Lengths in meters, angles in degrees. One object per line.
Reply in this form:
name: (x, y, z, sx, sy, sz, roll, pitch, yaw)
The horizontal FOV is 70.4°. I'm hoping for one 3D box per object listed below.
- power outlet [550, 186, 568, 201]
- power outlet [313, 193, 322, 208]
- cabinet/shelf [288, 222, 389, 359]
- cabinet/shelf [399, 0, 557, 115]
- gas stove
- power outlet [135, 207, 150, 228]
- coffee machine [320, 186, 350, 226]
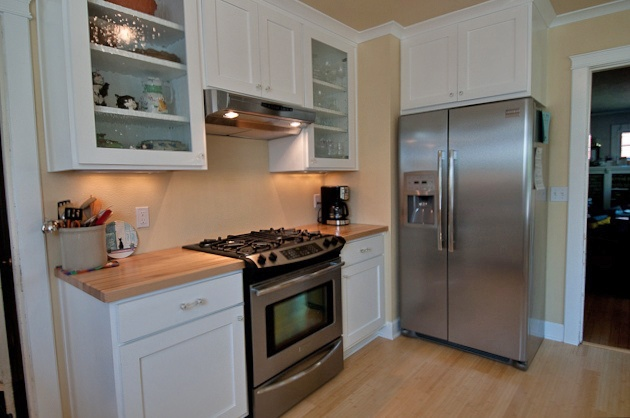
power outlet: (2.285, -0.154, 4.167, 0.151, 0.135, 0.036, -2, 3, 32)
power outlet: (0.015, -0.097, 4.559, 0.021, 0.202, 0.156, 0, -1, 34)
cabinet/shelf: (0.199, 0.705, 4.282, 0.834, 1.077, 0.777, 4, 12, 31)
cabinet/shelf: (1.358, -1.343, 3.966, 1.419, 0.900, 0.778, 2, 2, 37)
gas stove: (-0.408, 0.374, 3.702, 0.908, 0.289, 1.016, 3, 8, 37)
power outlet: (-1.337, 0.059, 3.449, 0.108, 0.163, 0.014, -8, 9, -39)
coffee machine: (0.200, -0.049, 4.507, 0.300, 0.378, 0.236, 3, 7, 34)
